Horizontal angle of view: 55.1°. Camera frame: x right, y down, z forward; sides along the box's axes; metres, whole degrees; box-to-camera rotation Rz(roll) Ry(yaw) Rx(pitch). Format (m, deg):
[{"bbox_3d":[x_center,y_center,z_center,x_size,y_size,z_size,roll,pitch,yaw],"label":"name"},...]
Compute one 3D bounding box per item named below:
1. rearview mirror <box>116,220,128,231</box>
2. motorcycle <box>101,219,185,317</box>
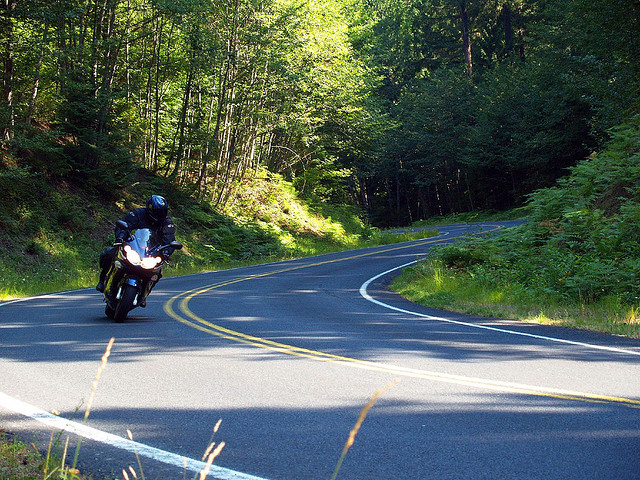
[{"bbox_3d":[-3.776,-0.288,11.811,0.193,0.105,0.191,33,-20,-6],"label":"rearview mirror"},{"bbox_3d":[-3.522,0.569,11.906,1.454,1.925,0.758,2,7,23],"label":"motorcycle"}]
